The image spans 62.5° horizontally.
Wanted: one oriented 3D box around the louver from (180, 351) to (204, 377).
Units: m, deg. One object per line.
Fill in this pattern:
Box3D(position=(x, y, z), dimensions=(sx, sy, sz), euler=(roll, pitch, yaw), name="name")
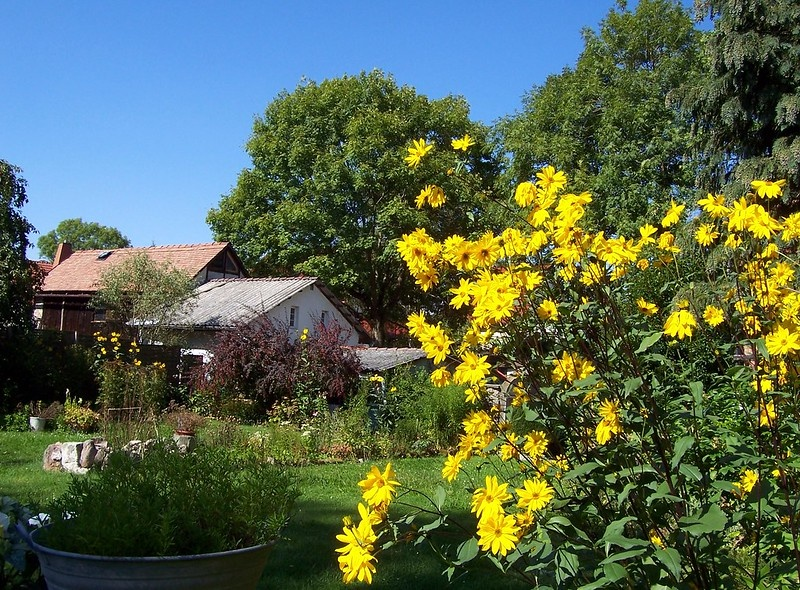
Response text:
Box3D(position=(-5.257, 1.651, 16.399), dimensions=(0.662, 0.679, 0.188), euler=(3, -21, -9), name="louver")
